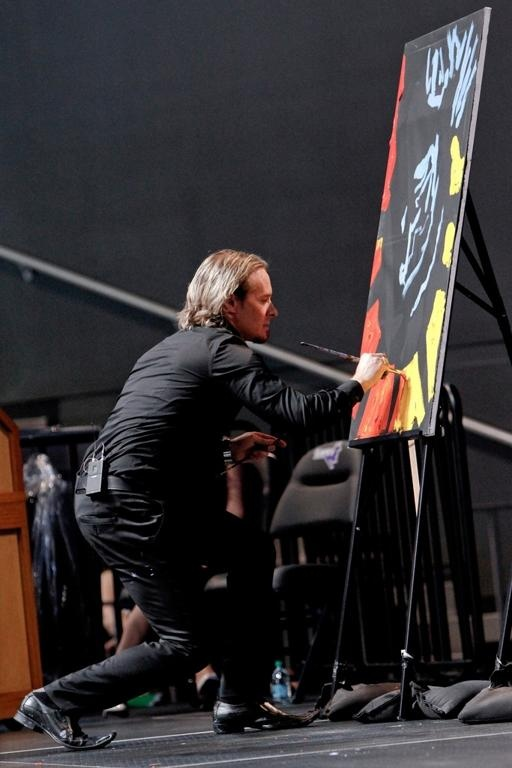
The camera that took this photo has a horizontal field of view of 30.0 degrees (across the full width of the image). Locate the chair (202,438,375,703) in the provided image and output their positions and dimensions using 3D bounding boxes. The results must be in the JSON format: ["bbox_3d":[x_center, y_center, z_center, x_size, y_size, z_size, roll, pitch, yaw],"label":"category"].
[{"bbox_3d":[0.046,0.670,3.296,0.726,0.823,0.537,-6,-6,-24],"label":"chair"}]

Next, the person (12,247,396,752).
[{"bbox_3d":[-0.145,0.232,2.341,0.696,1.277,0.527,6,-14,-29],"label":"person"}]
